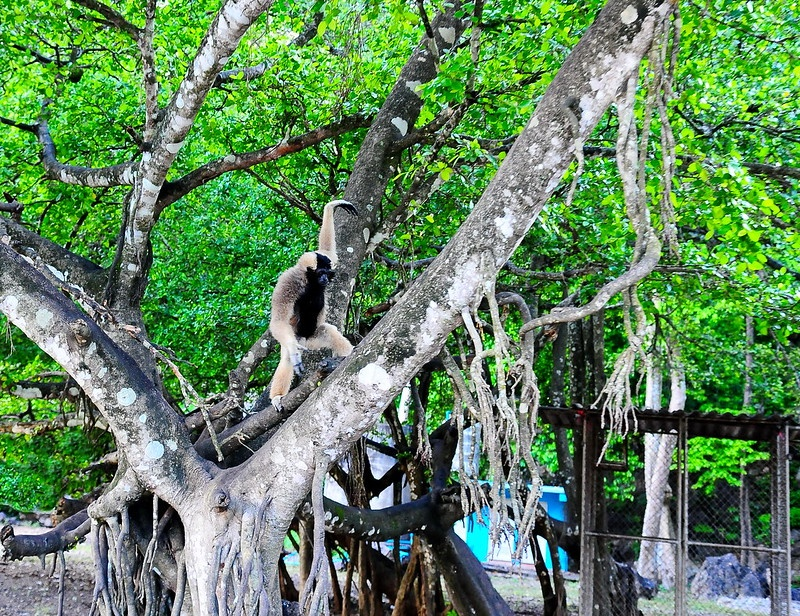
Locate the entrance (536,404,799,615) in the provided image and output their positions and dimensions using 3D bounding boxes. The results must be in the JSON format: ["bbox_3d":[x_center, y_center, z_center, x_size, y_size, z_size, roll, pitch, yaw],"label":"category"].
[{"bbox_3d":[5.139,3.804,18.702,4.654,4.865,2.123,1,-4,24],"label":"entrance"}]

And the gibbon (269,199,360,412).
[{"bbox_3d":[-1.076,-0.253,12.688,0.995,2.270,0.716,10,-14,-44],"label":"gibbon"}]
